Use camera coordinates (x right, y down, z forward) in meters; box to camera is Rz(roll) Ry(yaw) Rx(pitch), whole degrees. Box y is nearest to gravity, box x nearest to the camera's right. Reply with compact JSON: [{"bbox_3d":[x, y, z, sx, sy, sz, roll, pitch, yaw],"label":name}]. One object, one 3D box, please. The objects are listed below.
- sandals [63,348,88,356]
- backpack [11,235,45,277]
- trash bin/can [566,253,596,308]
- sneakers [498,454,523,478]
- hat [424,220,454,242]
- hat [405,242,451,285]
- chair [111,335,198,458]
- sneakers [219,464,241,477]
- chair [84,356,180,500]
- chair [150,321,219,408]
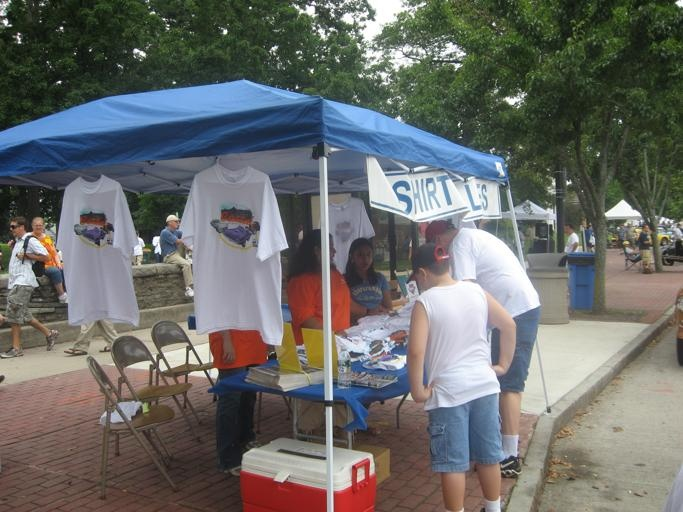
[{"bbox_3d":[-4.801,1.748,11.862,0.324,0.095,0.147,15,-16,-42],"label":"sandals"},{"bbox_3d":[-5.610,0.006,11.764,0.513,0.766,0.391,-17,2,4],"label":"backpack"},{"bbox_3d":[5.718,0.609,15.702,0.596,1.445,1.011,-1,0,19],"label":"trash bin/can"},{"bbox_3d":[1.777,2.174,6.999,0.228,0.232,0.512,-5,-4,27],"label":"sneakers"},{"bbox_3d":[1.054,-0.273,7.093,0.232,0.181,0.376,-7,-10,-45],"label":"hat"},{"bbox_3d":[0.741,0.037,5.799,0.266,0.211,0.375,-10,4,-39],"label":"hat"},{"bbox_3d":[-2.149,1.567,7.616,0.825,1.200,0.971,-8,12,-40],"label":"chair"},{"bbox_3d":[-1.175,2.262,6.927,0.234,0.092,0.179,0,1,35],"label":"sneakers"},{"bbox_3d":[-2.287,1.750,7.236,0.867,1.357,1.246,-1,-1,-16],"label":"chair"},{"bbox_3d":[-2.017,1.369,8.360,0.629,1.007,0.751,-8,13,-38],"label":"chair"}]
